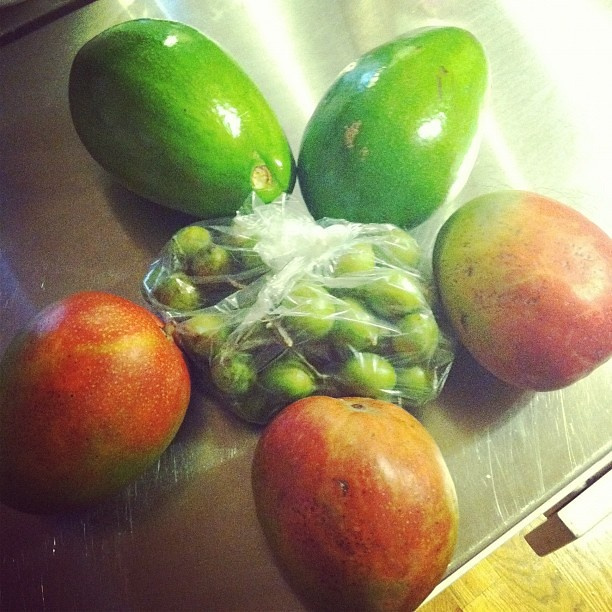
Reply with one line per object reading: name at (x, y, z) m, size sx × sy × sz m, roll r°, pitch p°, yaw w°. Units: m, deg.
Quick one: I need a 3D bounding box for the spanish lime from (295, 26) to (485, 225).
spanish lime at (0.093, -0.164, 0.760) m, size 0.138 × 0.132 × 0.216 m, roll 42°, pitch 97°, yaw 19°

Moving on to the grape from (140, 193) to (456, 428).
grape at (-0.010, -0.001, 0.694) m, size 0.232 × 0.107 × 0.214 m, roll 16°, pitch 71°, yaw 7°
